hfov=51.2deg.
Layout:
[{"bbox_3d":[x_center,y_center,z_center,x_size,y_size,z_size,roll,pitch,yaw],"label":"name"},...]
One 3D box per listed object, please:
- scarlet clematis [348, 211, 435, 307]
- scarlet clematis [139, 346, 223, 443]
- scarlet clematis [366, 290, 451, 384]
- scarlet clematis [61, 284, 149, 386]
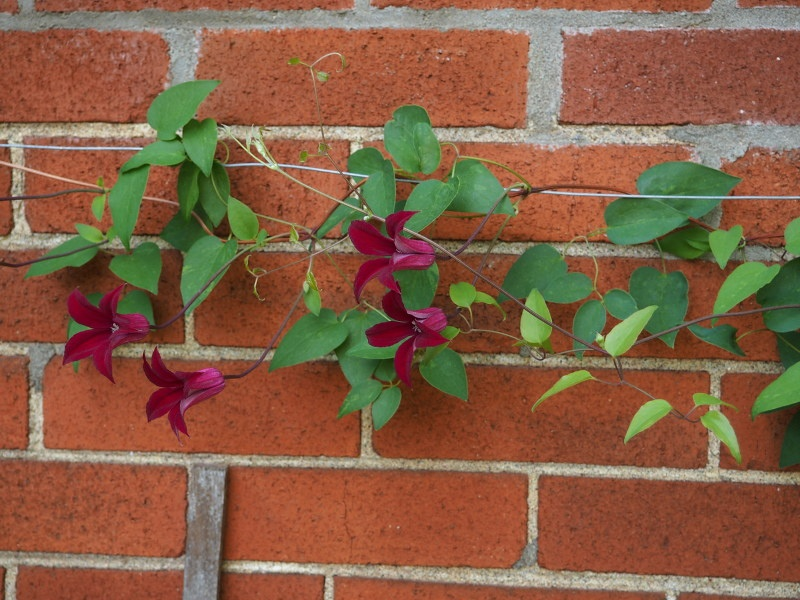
[{"bbox_3d":[-0.002,-0.056,0.958,0.091,0.099,0.044,-15,15,10],"label":"scarlet clematis"},{"bbox_3d":[-0.264,0.118,1.042,0.102,0.052,0.098,-22,59,-40],"label":"scarlet clematis"},{"bbox_3d":[0.011,0.041,0.970,0.086,0.036,0.074,-21,27,-13],"label":"scarlet clematis"},{"bbox_3d":[-0.349,0.035,0.996,0.096,0.105,0.042,18,-8,5],"label":"scarlet clematis"}]
